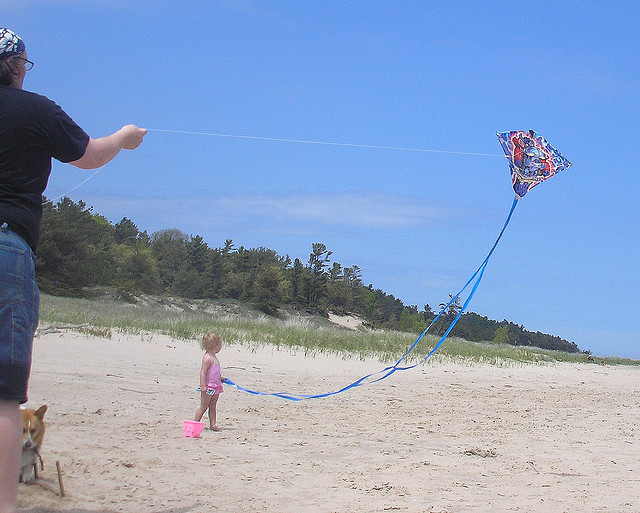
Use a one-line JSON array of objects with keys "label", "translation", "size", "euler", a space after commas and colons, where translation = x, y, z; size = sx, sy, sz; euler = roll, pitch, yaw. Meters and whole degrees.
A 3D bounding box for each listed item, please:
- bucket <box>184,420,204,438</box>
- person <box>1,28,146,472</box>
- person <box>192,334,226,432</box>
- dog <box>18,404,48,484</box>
[{"label": "bucket", "translation": [-1.498, 2.023, 9.672], "size": [0.186, 0.157, 0.185], "euler": [11, -18, 3]}, {"label": "person", "translation": [-2.281, -0.058, 6.875], "size": [0.815, 3.769, 0.407], "euler": [4, -1, -42]}, {"label": "person", "translation": [-1.393, 1.566, 10.471], "size": [0.381, 1.186, 0.683], "euler": [3, -1, -7]}, {"label": "dog", "translation": [-2.669, 1.740, 7.638], "size": [0.220, 0.773, 0.457], "euler": [4, -1, -20]}]
